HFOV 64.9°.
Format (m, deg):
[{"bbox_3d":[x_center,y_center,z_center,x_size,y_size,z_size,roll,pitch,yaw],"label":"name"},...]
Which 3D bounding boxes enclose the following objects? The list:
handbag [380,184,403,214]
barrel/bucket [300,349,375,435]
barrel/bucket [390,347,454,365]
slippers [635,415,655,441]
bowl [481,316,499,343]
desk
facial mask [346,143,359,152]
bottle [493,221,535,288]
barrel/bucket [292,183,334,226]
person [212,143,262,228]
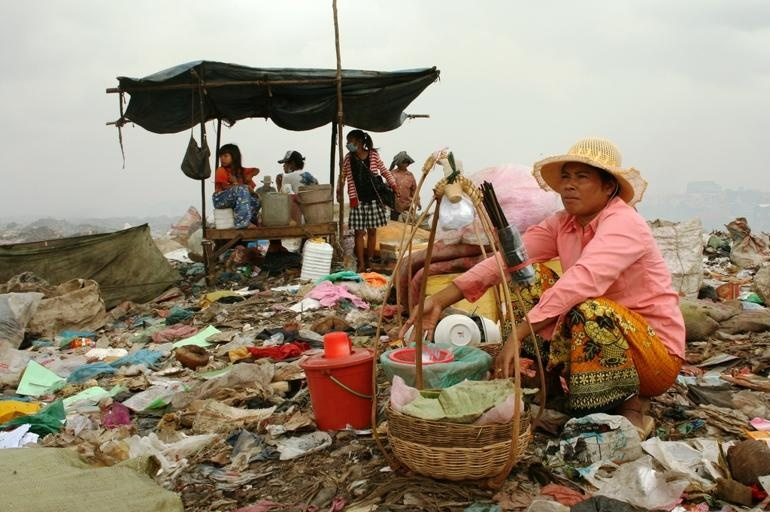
[{"bbox_3d":[0.066,-0.874,8.948,0.198,0.446,0.367,-14,5,9],"label":"handbag"},{"bbox_3d":[-0.253,0.846,4.012,0.505,0.426,0.521,-3,4,0],"label":"barrel/bucket"},{"bbox_3d":[0.202,0.593,3.592,0.394,0.075,0.228,0,4,17],"label":"barrel/bucket"},{"bbox_3d":[1.583,1.044,3.667,0.080,0.099,0.254,-20,-7,13],"label":"slippers"},{"bbox_3d":[0.814,0.569,4.634,0.146,0.182,0.186,4,-12,17],"label":"bowl"},{"bbox_3d":[-1.330,-0.056,9.397,2.230,0.968,1.460,-1,7,20],"label":"desk"},{"bbox_3d":[-0.484,-1.574,8.810,0.142,0.107,0.135,9,21,-1],"label":"facial mask"},{"bbox_3d":[0.716,-0.005,3.338,0.198,0.334,0.077,-1,4,6],"label":"bottle"},{"bbox_3d":[-0.996,-0.771,9.058,0.733,0.591,0.736,-9,1,0],"label":"barrel/bucket"},{"bbox_3d":[-2.243,-1.062,9.058,0.668,1.293,0.883,-2,4,-12],"label":"person"}]
